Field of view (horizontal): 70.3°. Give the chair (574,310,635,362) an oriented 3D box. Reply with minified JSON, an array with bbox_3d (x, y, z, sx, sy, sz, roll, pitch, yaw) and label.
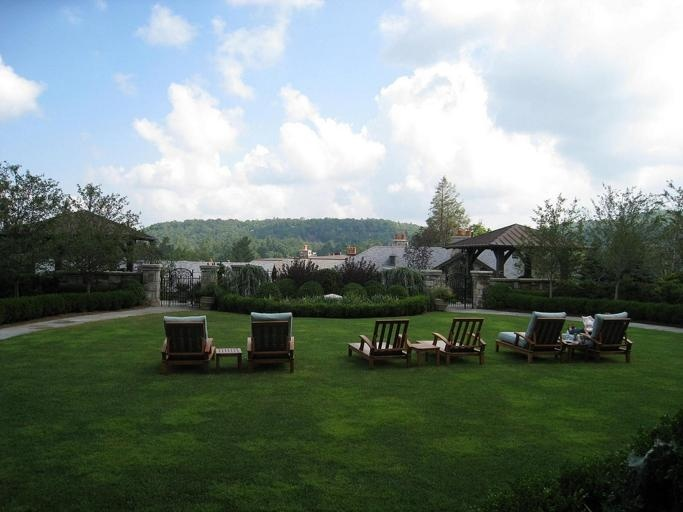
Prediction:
[{"bbox_3d":[7.785,2.391,14.518,1.125,1.381,1.682,1,-2,4],"label":"chair"}]

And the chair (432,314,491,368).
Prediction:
[{"bbox_3d":[3.333,2.398,14.160,1.158,1.380,2.112,1,-2,-6],"label":"chair"}]

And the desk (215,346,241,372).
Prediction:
[{"bbox_3d":[-2.948,2.596,12.500,0.649,0.581,1.378,-1,6,-18],"label":"desk"}]

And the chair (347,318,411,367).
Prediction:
[{"bbox_3d":[1.029,2.360,13.556,1.019,1.171,1.947,1,-4,-13],"label":"chair"}]

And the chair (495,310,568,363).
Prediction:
[{"bbox_3d":[5.643,2.347,14.443,1.162,1.297,2.107,4,-3,-10],"label":"chair"}]

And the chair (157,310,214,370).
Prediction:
[{"bbox_3d":[-3.754,2.091,11.740,0.967,0.921,1.505,0,-4,-6],"label":"chair"}]
